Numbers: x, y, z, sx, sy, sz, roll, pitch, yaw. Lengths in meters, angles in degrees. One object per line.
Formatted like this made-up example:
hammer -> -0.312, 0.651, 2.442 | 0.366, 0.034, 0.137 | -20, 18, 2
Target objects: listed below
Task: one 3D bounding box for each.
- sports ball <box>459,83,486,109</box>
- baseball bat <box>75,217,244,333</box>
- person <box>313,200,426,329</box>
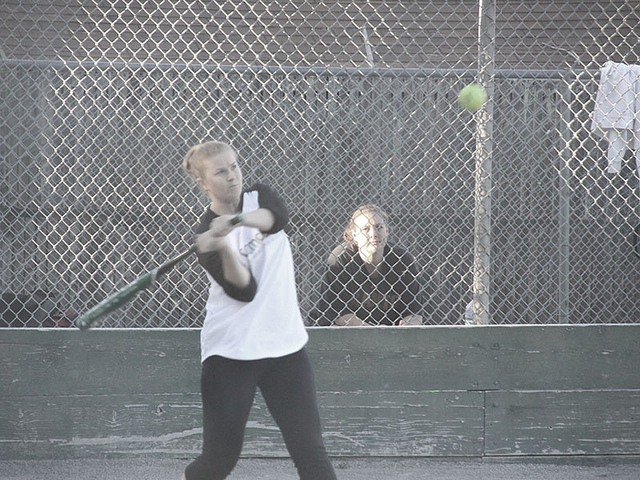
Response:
sports ball -> 1.165, -1.115, 9.587 | 0.195, 0.185, 0.317 | -2, 0, 7
baseball bat -> -1.230, 0.285, 9.615 | 1.280, 0.100, 0.149 | -39, 16, -6
person -> 0.301, 0.189, 10.240 | 1.068, 1.311, 0.897 | 1, -3, -12
